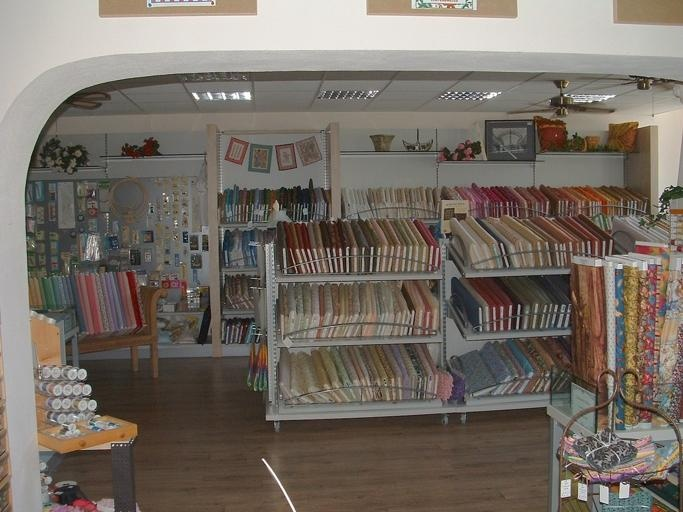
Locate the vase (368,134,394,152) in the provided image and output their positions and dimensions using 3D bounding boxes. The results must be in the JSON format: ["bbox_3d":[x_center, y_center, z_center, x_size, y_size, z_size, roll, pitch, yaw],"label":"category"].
[{"bbox_3d":[0.541,-1.553,8.254,0.347,0.233,0.248,2,8,25],"label":"vase"}]

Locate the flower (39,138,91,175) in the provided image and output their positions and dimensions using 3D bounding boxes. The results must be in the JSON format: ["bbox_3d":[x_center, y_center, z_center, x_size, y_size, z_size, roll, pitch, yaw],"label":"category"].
[{"bbox_3d":[-3.667,-1.301,7.816,0.645,0.477,0.387,-3,8,-13],"label":"flower"}]

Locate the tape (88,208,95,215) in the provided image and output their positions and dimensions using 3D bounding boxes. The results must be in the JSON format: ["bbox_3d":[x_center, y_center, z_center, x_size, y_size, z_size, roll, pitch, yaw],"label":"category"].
[{"bbox_3d":[-3.287,-0.581,7.880,0.092,0.075,0.021,4,-1,-2],"label":"tape"}]

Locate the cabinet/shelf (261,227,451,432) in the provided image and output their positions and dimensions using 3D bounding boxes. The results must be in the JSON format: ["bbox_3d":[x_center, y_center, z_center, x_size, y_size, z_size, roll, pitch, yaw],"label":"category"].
[{"bbox_3d":[0.115,0.621,5.005,1.954,1.656,0.984,0,-1,-5],"label":"cabinet/shelf"}]

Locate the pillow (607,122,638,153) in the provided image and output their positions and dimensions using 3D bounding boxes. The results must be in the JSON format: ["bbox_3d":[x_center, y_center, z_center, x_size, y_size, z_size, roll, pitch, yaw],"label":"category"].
[{"bbox_3d":[4.088,-1.691,8.607,0.503,0.529,0.214,8,1,30],"label":"pillow"}]

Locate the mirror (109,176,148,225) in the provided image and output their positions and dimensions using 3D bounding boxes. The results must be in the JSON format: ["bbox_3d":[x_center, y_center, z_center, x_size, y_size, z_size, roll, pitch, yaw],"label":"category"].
[{"bbox_3d":[-2.809,-0.738,7.855,0.572,0.544,0.137,-7,5,-6],"label":"mirror"}]

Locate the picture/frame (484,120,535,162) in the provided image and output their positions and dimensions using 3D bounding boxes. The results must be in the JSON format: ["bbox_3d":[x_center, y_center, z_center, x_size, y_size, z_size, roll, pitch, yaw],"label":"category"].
[{"bbox_3d":[2.336,-1.572,8.270,0.633,0.460,0.205,0,-4,-2],"label":"picture/frame"}]

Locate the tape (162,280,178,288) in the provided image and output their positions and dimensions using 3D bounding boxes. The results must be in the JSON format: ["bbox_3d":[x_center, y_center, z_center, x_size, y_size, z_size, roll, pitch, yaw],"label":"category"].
[{"bbox_3d":[-2.281,0.362,7.959,0.219,0.120,0.042,-2,8,-12],"label":"tape"}]

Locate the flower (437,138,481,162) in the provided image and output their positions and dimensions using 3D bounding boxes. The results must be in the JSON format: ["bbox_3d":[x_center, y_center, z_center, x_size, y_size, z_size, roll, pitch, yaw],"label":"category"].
[{"bbox_3d":[1.659,-1.437,8.248,0.578,0.254,0.230,0,8,9],"label":"flower"}]

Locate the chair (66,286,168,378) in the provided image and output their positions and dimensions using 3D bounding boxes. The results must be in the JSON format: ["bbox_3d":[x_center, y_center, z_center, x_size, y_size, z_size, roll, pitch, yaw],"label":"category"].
[{"bbox_3d":[-2.496,0.831,6.818,1.162,0.993,0.805,1,0,-33],"label":"chair"}]

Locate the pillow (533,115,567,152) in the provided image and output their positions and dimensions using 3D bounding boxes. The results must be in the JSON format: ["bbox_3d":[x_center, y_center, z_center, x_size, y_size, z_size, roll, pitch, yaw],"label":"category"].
[{"bbox_3d":[2.960,-1.695,8.341,0.522,0.458,0.149,-2,8,1],"label":"pillow"}]
